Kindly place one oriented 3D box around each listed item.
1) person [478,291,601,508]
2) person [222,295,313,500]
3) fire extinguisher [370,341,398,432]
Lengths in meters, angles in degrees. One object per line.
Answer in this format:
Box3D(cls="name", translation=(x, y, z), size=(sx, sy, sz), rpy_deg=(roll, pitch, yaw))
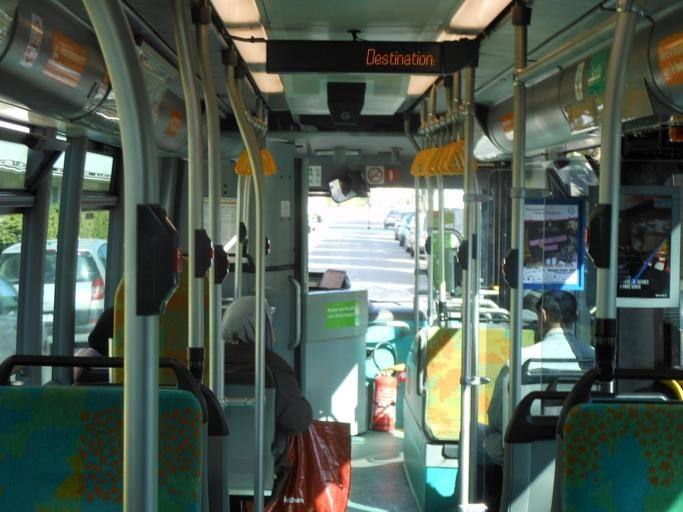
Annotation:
Box3D(cls="person", translation=(1.293, 1.048, 4.075), size=(0.671, 1.669, 0.673), rpy_deg=(2, 4, 7))
Box3D(cls="person", translation=(-0.573, 0.959, 4.634), size=(0.620, 1.562, 0.660), rpy_deg=(2, 4, -6))
Box3D(cls="fire extinguisher", translation=(0.557, 1.759, 7.854), size=(0.374, 1.141, 0.356), rpy_deg=(4, -9, 6))
